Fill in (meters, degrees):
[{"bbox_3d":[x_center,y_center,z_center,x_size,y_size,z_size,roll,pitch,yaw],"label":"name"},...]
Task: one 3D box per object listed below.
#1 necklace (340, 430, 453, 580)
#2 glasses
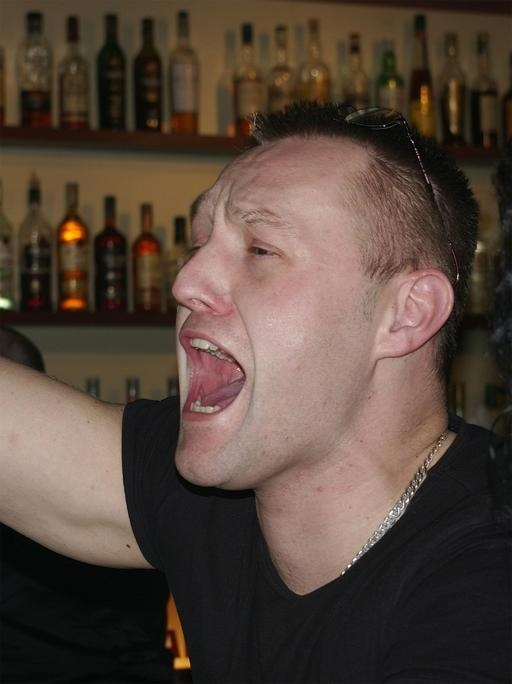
[{"bbox_3d":[0.142,0.174,0.919,0.010,0.187,0.027,41,-1,-24],"label":"necklace"},{"bbox_3d":[0.131,-0.175,1.051,0.233,0.221,0.073,8,31,44],"label":"glasses"}]
